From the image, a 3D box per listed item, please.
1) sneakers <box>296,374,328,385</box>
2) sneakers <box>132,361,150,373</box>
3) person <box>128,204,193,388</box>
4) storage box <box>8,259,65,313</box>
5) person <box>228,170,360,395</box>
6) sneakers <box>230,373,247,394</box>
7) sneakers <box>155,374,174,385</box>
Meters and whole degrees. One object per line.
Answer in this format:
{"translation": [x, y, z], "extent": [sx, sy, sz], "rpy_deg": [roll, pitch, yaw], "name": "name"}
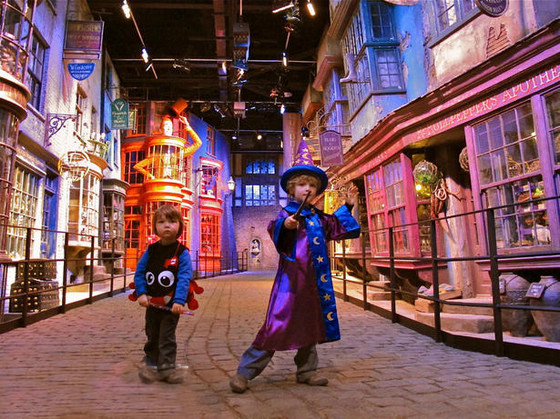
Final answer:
{"translation": [0.297, 1.615, 3.710], "extent": [0.295, 0.116, 0.107], "rpy_deg": [-4, -30, 14], "name": "sneakers"}
{"translation": [-1.400, 1.591, 3.922], "extent": [0.177, 0.141, 0.164], "rpy_deg": [3, -9, -17], "name": "sneakers"}
{"translation": [-1.205, 0.812, 3.911], "extent": [0.601, 1.727, 0.490], "rpy_deg": [1, -8, 0], "name": "person"}
{"translation": [-4.275, 1.353, 6.730], "extent": [0.643, 1.040, 1.050], "rpy_deg": [-1, -5, -5], "name": "storage box"}
{"translation": [0.187, 0.615, 3.769], "extent": [1.217, 2.124, 0.526], "rpy_deg": [2, -8, -6], "name": "person"}
{"translation": [-0.385, 1.565, 3.482], "extent": [0.149, 0.143, 0.083], "rpy_deg": [1, -8, 1], "name": "sneakers"}
{"translation": [-1.087, 1.603, 3.681], "extent": [0.068, 0.079, 0.187], "rpy_deg": [-7, -7, 44], "name": "sneakers"}
